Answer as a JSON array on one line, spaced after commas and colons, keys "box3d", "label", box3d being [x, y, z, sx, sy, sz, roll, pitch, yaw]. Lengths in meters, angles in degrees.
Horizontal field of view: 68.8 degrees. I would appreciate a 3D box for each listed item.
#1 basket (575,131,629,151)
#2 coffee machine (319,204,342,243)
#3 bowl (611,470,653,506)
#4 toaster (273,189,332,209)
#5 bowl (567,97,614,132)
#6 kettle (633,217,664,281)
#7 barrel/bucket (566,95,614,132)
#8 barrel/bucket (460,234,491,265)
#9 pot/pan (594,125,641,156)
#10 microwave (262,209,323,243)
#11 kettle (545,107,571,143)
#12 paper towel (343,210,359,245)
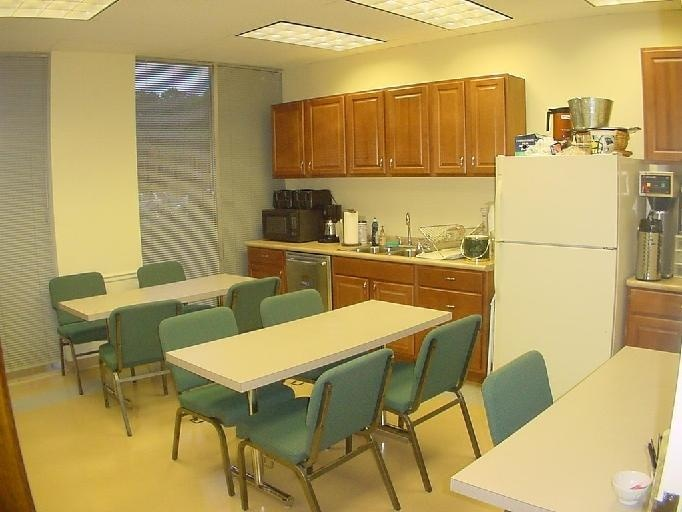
[{"box3d": [1.843, -0.791, 3.514, 0.201, 0.111, 0.243, -5, 8, -32], "label": "basket"}, {"box3d": [-0.119, -0.372, 5.682, 0.259, 0.415, 0.254, -2, 10, 0], "label": "coffee machine"}, {"box3d": [0.812, 0.643, 1.394, 0.090, 0.050, 0.087, -2, 3, 0], "label": "bowl"}, {"box3d": [-0.446, -0.659, 5.774, 0.691, 0.217, 0.356, -2, 10, -4], "label": "toaster"}, {"box3d": [1.770, -1.002, 3.570, 0.293, 0.164, 0.240, -3, 8, -22], "label": "bowl"}, {"box3d": [2.183, -0.068, 3.521, 0.158, 0.463, 0.213, 4, 12, 29], "label": "kettle"}, {"box3d": [1.779, -1.005, 3.568, 0.292, 0.164, 0.242, -3, 6, -31], "label": "barrel/bucket"}, {"box3d": [1.149, -0.066, 4.248, 0.239, 0.195, 0.234, -2, 4, 0], "label": "barrel/bucket"}, {"box3d": [1.922, -0.808, 3.549, 0.338, 0.160, 0.239, 5, 10, 36], "label": "pot/pan"}, {"box3d": [-0.566, -0.241, 5.718, 0.630, 0.361, 0.434, 3, 4, 41], "label": "microwave"}, {"box3d": [1.679, -1.007, 3.835, 0.160, 0.257, 0.265, -1, 10, 7], "label": "kettle"}, {"box3d": [0.105, -0.294, 5.299, 0.172, 0.355, 0.147, -2, 10, -1], "label": "paper towel"}]
